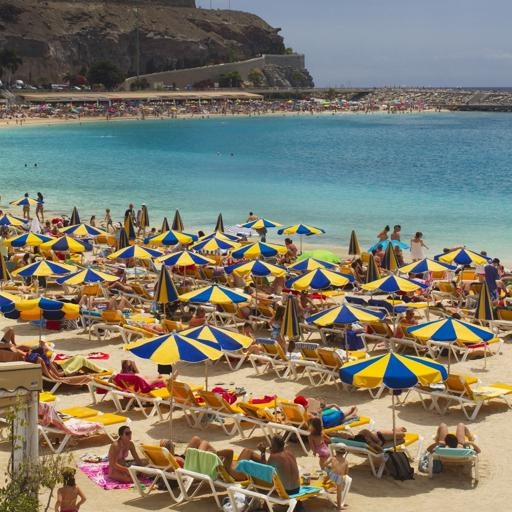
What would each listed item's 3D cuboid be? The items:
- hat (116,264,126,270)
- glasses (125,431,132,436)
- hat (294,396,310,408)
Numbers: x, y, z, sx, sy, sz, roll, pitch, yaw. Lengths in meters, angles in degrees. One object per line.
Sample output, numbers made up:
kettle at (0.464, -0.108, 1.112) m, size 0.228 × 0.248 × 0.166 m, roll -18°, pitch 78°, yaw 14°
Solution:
hat at (-3.308, 0.262, 18.445) m, size 0.190 × 0.186 × 0.510 m, roll -3°, pitch 0°, yaw -23°
glasses at (-1.387, 1.913, 8.101) m, size 0.044 × 0.053 × 0.056 m, roll 27°, pitch -7°, yaw 23°
hat at (0.572, 1.812, 9.324) m, size 0.126 × 0.135 × 0.141 m, roll 1°, pitch 32°, yaw 15°
